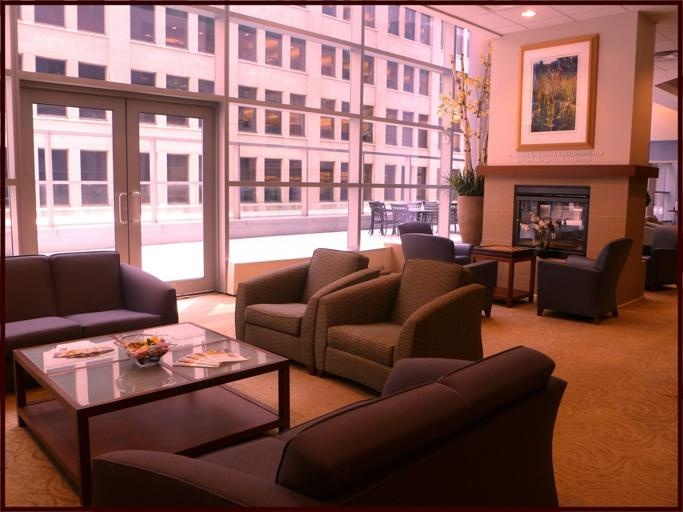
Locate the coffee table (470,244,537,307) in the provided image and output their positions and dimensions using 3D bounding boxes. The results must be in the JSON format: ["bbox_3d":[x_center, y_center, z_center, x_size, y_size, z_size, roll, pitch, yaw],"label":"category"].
[{"bbox_3d":[2.170,0.260,7.049,0.719,0.722,0.823,-4,9,-29],"label":"coffee table"}]

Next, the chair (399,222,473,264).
[{"bbox_3d":[1.270,-0.147,6.832,0.859,0.954,0.737,0,6,2],"label":"chair"}]

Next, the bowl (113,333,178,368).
[{"bbox_3d":[-1.235,0.652,3.321,0.364,0.122,0.373,-4,-14,-1],"label":"bowl"}]

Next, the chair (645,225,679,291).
[{"bbox_3d":[4.909,0.044,7.870,0.504,0.931,1.449,7,12,30],"label":"chair"}]

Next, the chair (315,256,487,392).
[{"bbox_3d":[0.488,0.525,4.086,1.127,0.891,1.117,-6,9,-30],"label":"chair"}]

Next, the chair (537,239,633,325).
[{"bbox_3d":[2.936,0.251,6.197,0.978,0.951,0.875,2,8,31],"label":"chair"}]

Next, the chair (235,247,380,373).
[{"bbox_3d":[-0.300,0.445,4.730,1.104,0.952,1.036,4,9,37],"label":"chair"}]
